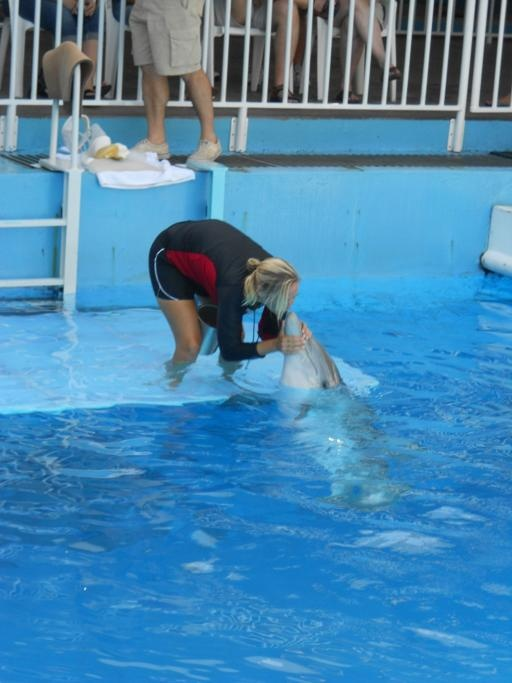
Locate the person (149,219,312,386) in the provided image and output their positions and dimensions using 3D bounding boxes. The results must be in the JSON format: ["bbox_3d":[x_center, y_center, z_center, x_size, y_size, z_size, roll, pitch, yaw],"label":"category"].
[{"bbox_3d":[-0.136,-0.147,3.203,0.361,0.825,1.087,-3,12,-31],"label":"person"}]

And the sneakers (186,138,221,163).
[{"bbox_3d":[-0.382,-1.401,5.030,0.127,0.108,0.267,17,35,20],"label":"sneakers"}]

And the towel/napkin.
[{"bbox_3d":[-0.814,-1.183,4.759,0.790,0.277,0.374,0,10,-15],"label":"towel/napkin"}]

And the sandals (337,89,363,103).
[{"bbox_3d":[0.888,-2.274,6.402,0.179,0.205,0.556,3,23,7],"label":"sandals"}]

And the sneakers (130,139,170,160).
[{"bbox_3d":[-0.775,-1.413,5.038,0.333,0.125,0.118,3,22,-13],"label":"sneakers"}]

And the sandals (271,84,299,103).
[{"bbox_3d":[0.262,-2.154,5.976,0.137,0.143,0.374,-5,22,-15],"label":"sandals"}]

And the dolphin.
[{"bbox_3d":[0.326,0.235,3.003,0.433,0.454,0.950,3,10,1],"label":"dolphin"}]
